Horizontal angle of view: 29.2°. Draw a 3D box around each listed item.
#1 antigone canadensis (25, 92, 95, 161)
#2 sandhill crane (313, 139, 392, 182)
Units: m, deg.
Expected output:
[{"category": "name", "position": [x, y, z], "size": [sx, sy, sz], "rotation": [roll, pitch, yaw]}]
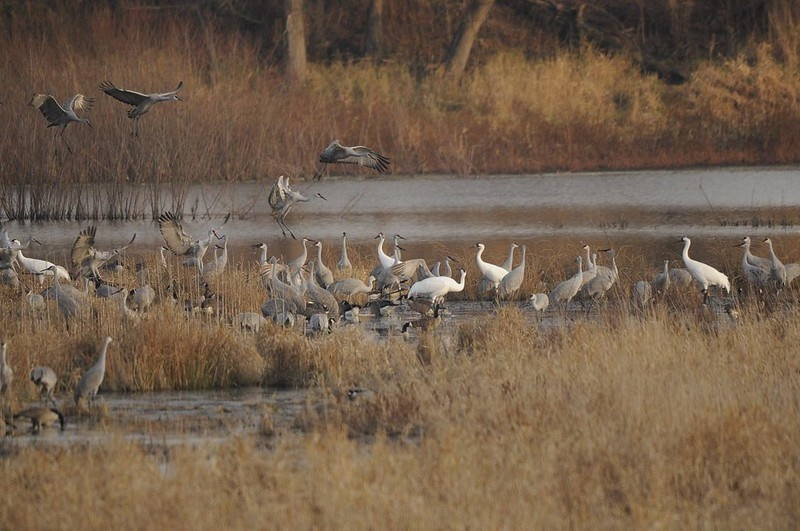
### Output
[{"category": "antigone canadensis", "position": [-8.712, -3.778, 39.870], "size": [1.456, 1.531, 2.249], "rotation": [1, 8, 28]}, {"category": "sandhill crane", "position": [-1.339, -3.087, 41.257], "size": [1.616, 1.001, 2.029], "rotation": [2, 17, -9]}]
